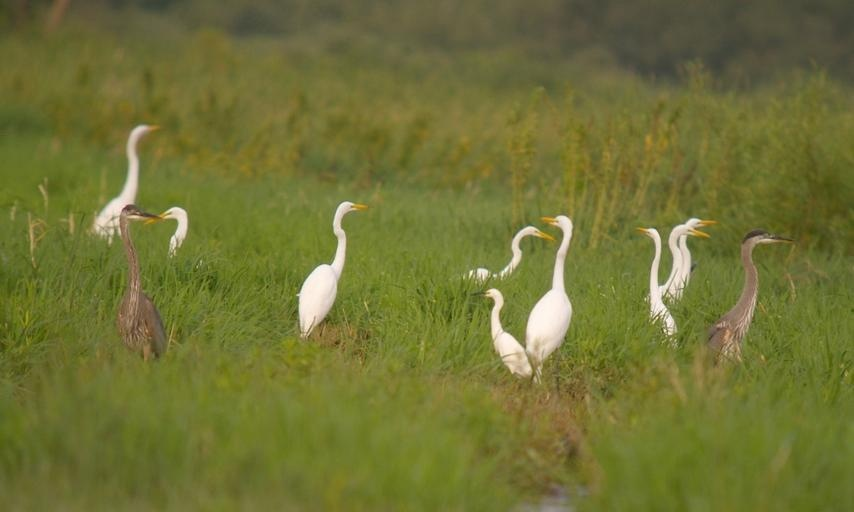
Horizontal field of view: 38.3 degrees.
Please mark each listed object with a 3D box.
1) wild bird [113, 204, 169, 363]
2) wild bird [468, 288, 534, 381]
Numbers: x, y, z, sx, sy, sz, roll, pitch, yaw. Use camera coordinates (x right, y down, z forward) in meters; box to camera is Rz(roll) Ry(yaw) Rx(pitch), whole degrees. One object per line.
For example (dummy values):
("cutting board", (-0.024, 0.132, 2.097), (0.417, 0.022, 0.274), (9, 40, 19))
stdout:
("wild bird", (-2.571, 0.257, 11.240), (0.440, 1.226, 0.820), (0, 23, -12))
("wild bird", (0.759, 0.768, 11.348), (0.212, 0.678, 0.832), (-5, 25, -24))
